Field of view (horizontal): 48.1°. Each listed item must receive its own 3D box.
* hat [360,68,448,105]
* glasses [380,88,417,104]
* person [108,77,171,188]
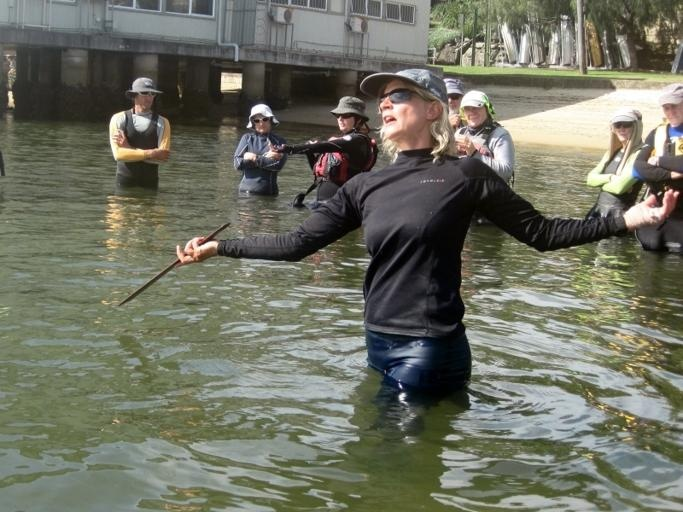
[{"bbox_3d":[0.438,-1.153,5.040,0.575,0.107,0.311,5,0,-20],"label":"hat"},{"bbox_3d":[0.382,-1.055,5.032,0.158,0.030,0.150,-7,-9,35],"label":"glasses"},{"bbox_3d":[-3.397,-2.052,12.928,0.955,1.881,1.163,-1,12,-13],"label":"person"}]
